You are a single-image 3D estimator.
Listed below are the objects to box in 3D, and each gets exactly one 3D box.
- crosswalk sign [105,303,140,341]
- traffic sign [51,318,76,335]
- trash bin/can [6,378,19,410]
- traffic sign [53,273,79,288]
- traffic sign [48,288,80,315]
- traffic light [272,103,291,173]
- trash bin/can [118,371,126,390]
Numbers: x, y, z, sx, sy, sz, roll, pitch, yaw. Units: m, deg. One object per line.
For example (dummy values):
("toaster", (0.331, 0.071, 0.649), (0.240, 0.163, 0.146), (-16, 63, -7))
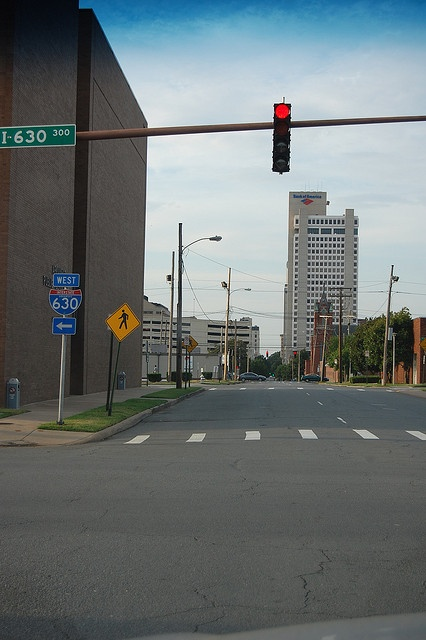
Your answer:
("crosswalk sign", (-2.764, 0.075, 20.037), (0.839, 1.195, 1.136), (3, -3, -25))
("traffic sign", (-3.794, 0.153, 16.932), (0.449, 0.406, 0.017), (2, -11, 13))
("trash bin/can", (-6.060, 2.248, 20.143), (0.365, 0.904, 0.546), (3, -3, -21))
("traffic sign", (-3.855, -1.035, 17.416), (0.658, 0.424, 0.073), (1, -5, -2))
("traffic sign", (-4.005, -0.519, 17.792), (1.017, 1.085, 0.148), (0, -14, -2))
("traffic light", (1.399, -3.695, 13.465), (0.344, 1.353, 0.351), (1, -3, 11))
("trash bin/can", (-5.133, 3.449, 37.143), (0.360, 0.938, 0.970), (2, -3, -12))
